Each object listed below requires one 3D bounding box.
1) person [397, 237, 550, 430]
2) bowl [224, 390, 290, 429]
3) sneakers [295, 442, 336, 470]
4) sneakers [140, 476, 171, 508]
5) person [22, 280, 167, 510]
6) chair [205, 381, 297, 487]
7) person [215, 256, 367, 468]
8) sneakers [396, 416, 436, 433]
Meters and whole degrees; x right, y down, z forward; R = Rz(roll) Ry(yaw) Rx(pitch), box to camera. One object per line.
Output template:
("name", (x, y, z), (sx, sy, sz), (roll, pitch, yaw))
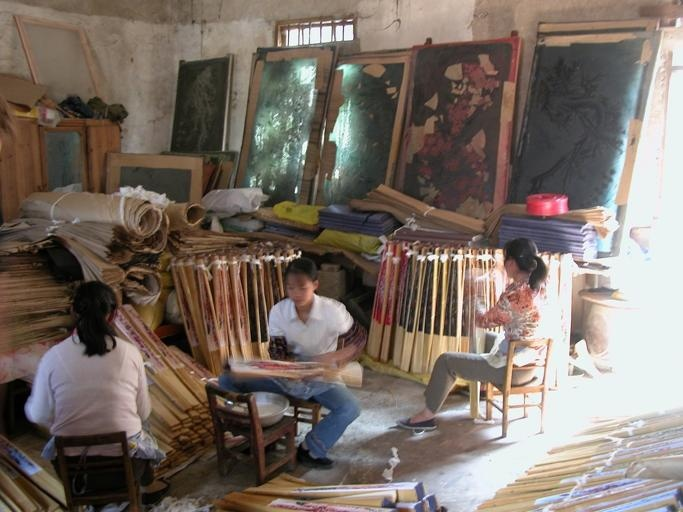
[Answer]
("person", (1.238, 0.713, 4.681), (0.982, 1.756, 0.402), (7, 11, 19))
("bowl", (-0.560, 1.197, 4.276), (0.368, 0.073, 0.374), (2, 9, 0))
("sneakers", (-0.199, 1.608, 4.399), (0.332, 0.209, 0.131), (0, 14, -2))
("sneakers", (-1.391, 1.764, 4.077), (0.114, 0.052, 0.233), (16, 26, 12))
("person", (-1.580, 0.948, 3.576), (0.816, 1.556, 0.433), (-3, 12, -29))
("chair", (-0.681, 1.378, 4.219), (0.581, 0.781, 0.638), (13, 23, 38))
("person", (-0.399, 0.822, 4.473), (1.239, 1.496, 0.897), (1, 3, 4))
("sneakers", (0.676, 1.505, 4.838), (0.336, 0.110, 0.129), (3, 2, 3))
